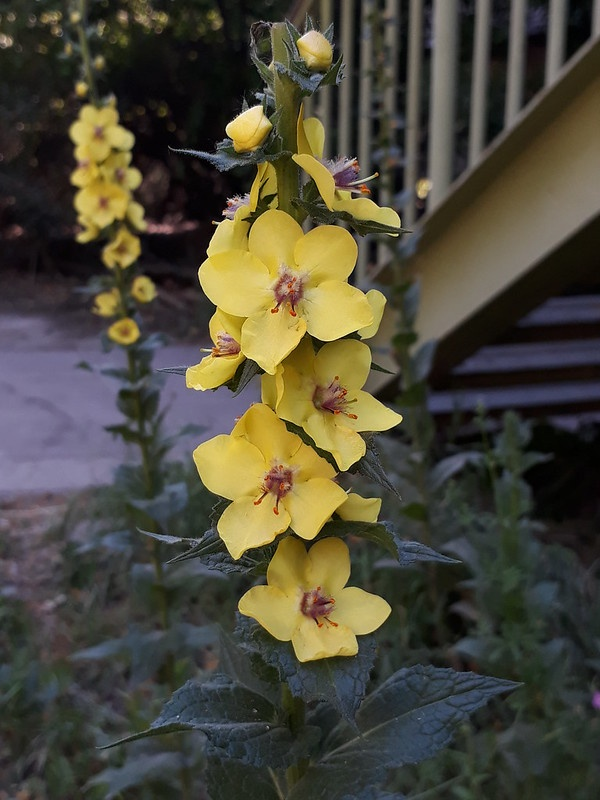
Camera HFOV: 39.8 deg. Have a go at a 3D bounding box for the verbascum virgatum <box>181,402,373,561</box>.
[{"bbox_3d":[-0.006,0.143,1.151,0.253,0.078,0.229,11,46,10],"label":"verbascum virgatum"}]

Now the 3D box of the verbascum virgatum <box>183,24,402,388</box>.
[{"bbox_3d":[-0.010,-0.275,1.188,0.315,0.545,0.260,11,10,5],"label":"verbascum virgatum"}]

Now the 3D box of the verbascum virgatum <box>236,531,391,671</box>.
[{"bbox_3d":[0.026,0.280,1.174,0.197,0.146,0.114,10,10,8],"label":"verbascum virgatum"}]

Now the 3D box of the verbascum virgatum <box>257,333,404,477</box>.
[{"bbox_3d":[0.023,0.013,1.235,0.197,0.210,0.098,46,-21,-9],"label":"verbascum virgatum"}]
